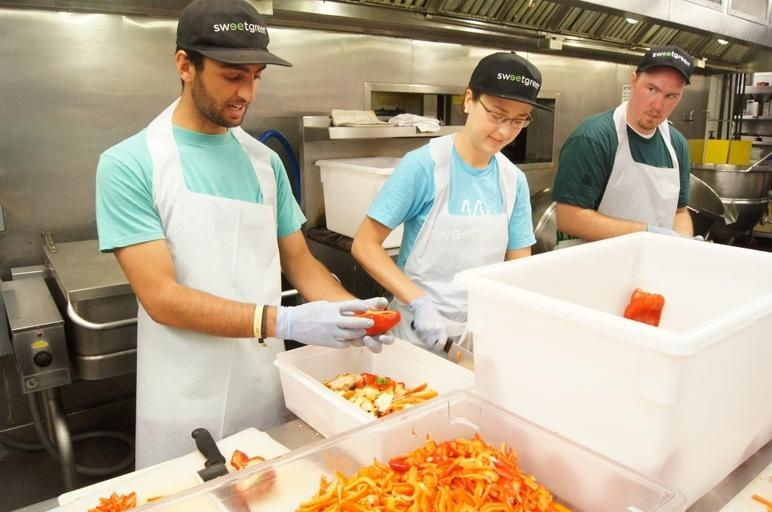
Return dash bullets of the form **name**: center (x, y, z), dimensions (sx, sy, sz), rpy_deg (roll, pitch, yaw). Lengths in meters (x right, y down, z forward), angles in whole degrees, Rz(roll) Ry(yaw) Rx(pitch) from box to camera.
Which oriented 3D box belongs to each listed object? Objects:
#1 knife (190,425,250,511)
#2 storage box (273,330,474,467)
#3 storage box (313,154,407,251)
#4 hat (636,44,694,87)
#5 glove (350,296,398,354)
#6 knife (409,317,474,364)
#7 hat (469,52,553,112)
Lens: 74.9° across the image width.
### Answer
- **knife**: center (-0.423, 0.511, 1.245), dimensions (0.077, 0.034, 0.369), rpy_deg (-11, 20, -26)
- **storage box**: center (-0.105, 0.344, 1.477), dimensions (0.324, 0.136, 0.403), rpy_deg (-10, 16, -38)
- **storage box**: center (-0.116, -0.339, 2.976), dimensions (0.500, 0.448, 0.636), rpy_deg (11, 11, 39)
- **hat**: center (1.308, -0.911, 2.399), dimensions (0.182, 0.136, 0.252), rpy_deg (18, 12, 2)
- **glove**: center (-0.034, 0.203, 1.504), dimensions (0.139, 0.079, 0.162), rpy_deg (4, -7, -3)
- **knife**: center (0.206, 0.292, 1.666), dimensions (0.023, 0.036, 0.251), rpy_deg (22, 2, -25)
- **hat**: center (0.444, -0.634, 1.830), dimensions (0.185, 0.130, 0.242), rpy_deg (-8, 30, -40)
